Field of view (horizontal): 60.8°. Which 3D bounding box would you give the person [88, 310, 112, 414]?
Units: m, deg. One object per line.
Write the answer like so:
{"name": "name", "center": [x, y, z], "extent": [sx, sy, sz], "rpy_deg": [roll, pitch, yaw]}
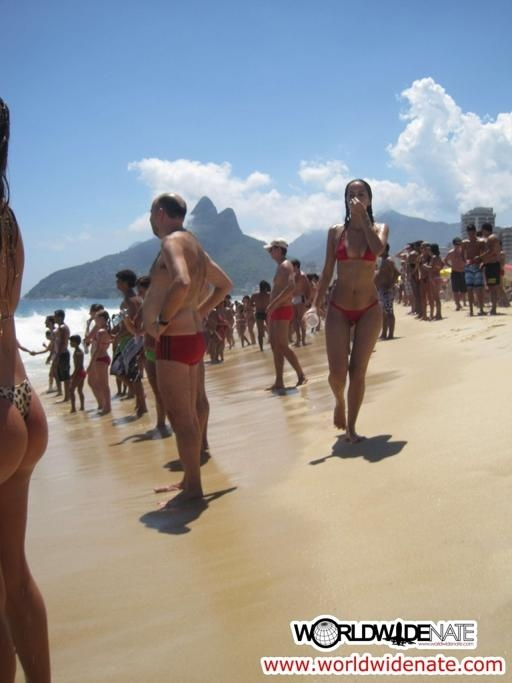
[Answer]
{"name": "person", "center": [-3.054, 0.432, 8.504], "extent": [0.509, 2.165, 0.859], "rpy_deg": [-5, 0, -23]}

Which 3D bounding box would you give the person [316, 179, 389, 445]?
{"name": "person", "center": [0.862, -0.250, 4.079], "extent": [0.601, 2.538, 0.731], "rpy_deg": [-1, 4, -17]}

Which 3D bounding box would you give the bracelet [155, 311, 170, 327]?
{"name": "bracelet", "center": [-0.654, -0.137, 3.045], "extent": [0.084, 0.085, 0.062], "rpy_deg": [8, 36, 12]}

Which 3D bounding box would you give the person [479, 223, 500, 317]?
{"name": "person", "center": [6.335, -1.890, 11.661], "extent": [0.497, 2.223, 0.868], "rpy_deg": [-5, 1, 32]}
